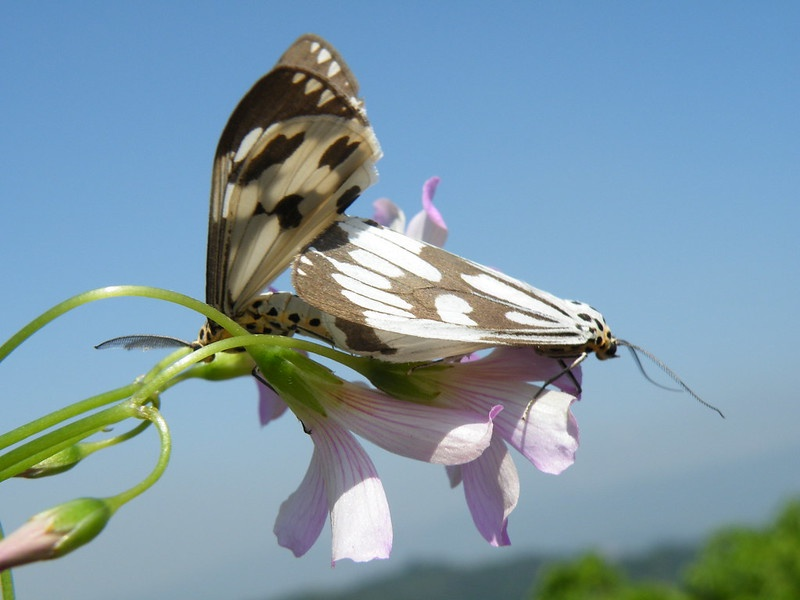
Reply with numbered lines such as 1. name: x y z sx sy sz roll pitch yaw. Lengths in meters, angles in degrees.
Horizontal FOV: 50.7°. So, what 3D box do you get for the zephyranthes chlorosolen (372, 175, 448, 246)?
1. zephyranthes chlorosolen: 0.027 -0.094 1.114 0.099 0.146 0.123 -1 8 12
